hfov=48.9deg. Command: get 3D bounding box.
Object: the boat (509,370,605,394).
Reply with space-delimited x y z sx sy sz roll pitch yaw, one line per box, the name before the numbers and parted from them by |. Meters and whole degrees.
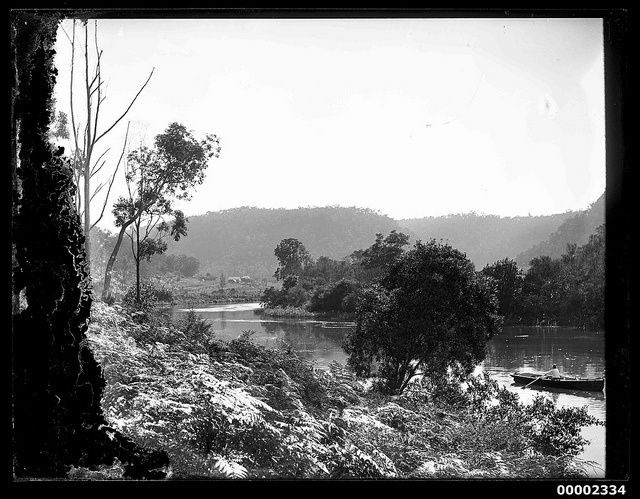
boat | 3.141 1.740 9.315 1.078 0.275 0.429 3 -8 19
